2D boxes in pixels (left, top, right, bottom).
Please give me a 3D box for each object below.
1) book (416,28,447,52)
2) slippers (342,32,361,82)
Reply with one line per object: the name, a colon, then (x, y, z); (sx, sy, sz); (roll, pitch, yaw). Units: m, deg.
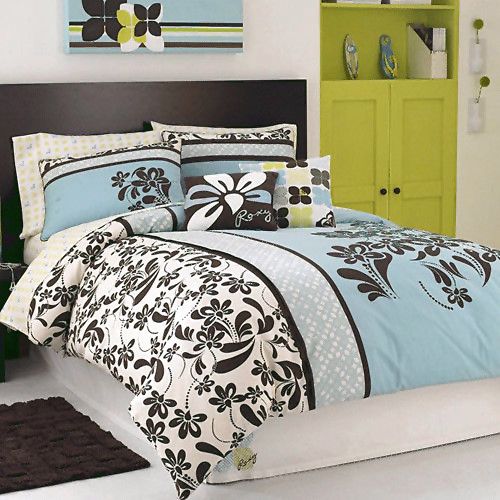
book: (1.358, -1.572, 3.878); (0.097, 0.123, 0.175); (-11, 21, -29)
slippers: (0.751, -1.420, 3.846); (0.114, 0.367, 0.195); (0, 1, 10)
